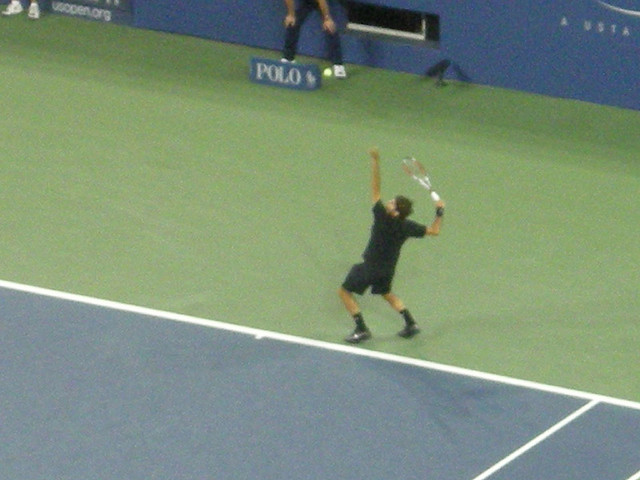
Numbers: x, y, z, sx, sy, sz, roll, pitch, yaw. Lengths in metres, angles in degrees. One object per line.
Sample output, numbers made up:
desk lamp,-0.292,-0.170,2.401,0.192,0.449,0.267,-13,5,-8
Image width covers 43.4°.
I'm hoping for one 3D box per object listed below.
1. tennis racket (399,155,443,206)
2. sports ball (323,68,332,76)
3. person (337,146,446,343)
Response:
tennis racket,1.287,-0.654,9.998,0.067,0.219,0.764,-36,36,-13
sports ball,0.111,-2.754,13.181,0.106,0.080,0.118,1,26,4
person,0.901,-0.020,10.209,1.167,2.341,1.547,12,24,7
